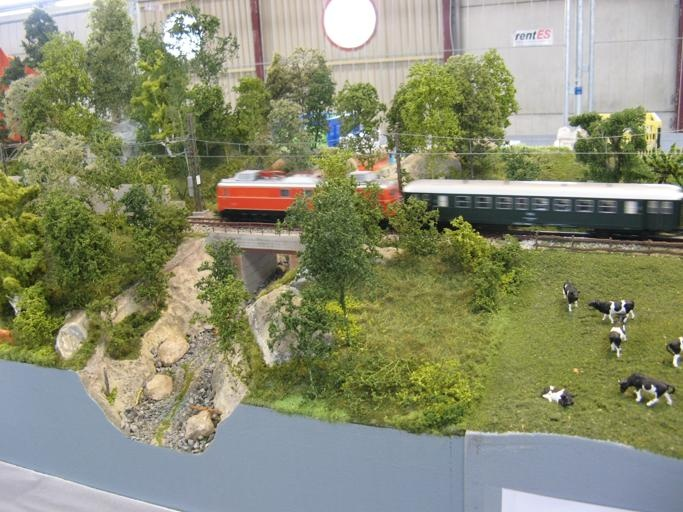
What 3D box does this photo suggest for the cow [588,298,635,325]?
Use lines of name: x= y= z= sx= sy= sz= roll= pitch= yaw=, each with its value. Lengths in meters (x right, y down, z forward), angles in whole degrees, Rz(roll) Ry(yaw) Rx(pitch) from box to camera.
cow: x=15.084 y=3.117 z=36.483 sx=1.846 sy=1.140 sz=0.607 roll=5 pitch=33 yaw=16

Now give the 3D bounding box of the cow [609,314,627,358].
cow: x=15.088 y=4.253 z=35.565 sx=0.862 sy=1.618 sz=2.365 roll=4 pitch=15 yaw=25

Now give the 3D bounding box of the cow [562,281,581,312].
cow: x=13.250 y=2.263 z=37.761 sx=0.532 sy=1.211 sz=2.125 roll=-7 pitch=28 yaw=7

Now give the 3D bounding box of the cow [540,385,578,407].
cow: x=11.226 y=7.174 z=33.685 sx=1.044 sy=0.522 sz=1.047 roll=15 pitch=39 yaw=33
